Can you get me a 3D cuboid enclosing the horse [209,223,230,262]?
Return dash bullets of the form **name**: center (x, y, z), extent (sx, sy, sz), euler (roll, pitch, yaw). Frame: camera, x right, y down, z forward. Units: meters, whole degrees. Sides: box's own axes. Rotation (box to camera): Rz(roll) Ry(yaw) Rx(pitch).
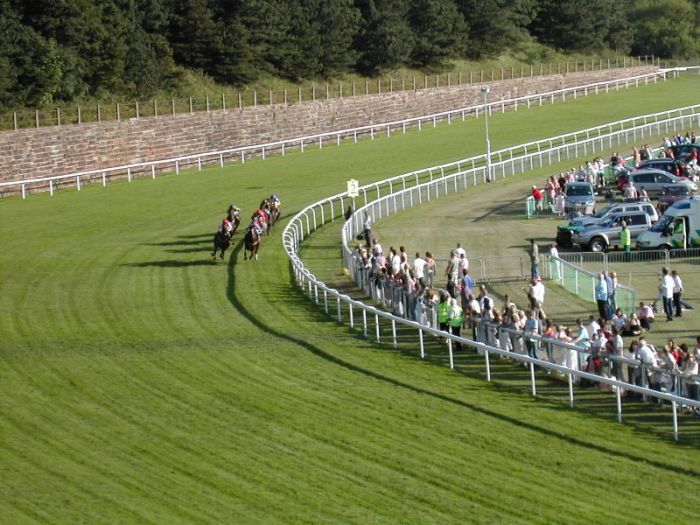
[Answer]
- **horse**: center (-4.374, -0.812, 47.674), extent (0.627, 1.165, 2.128), euler (11, 7, -8)
